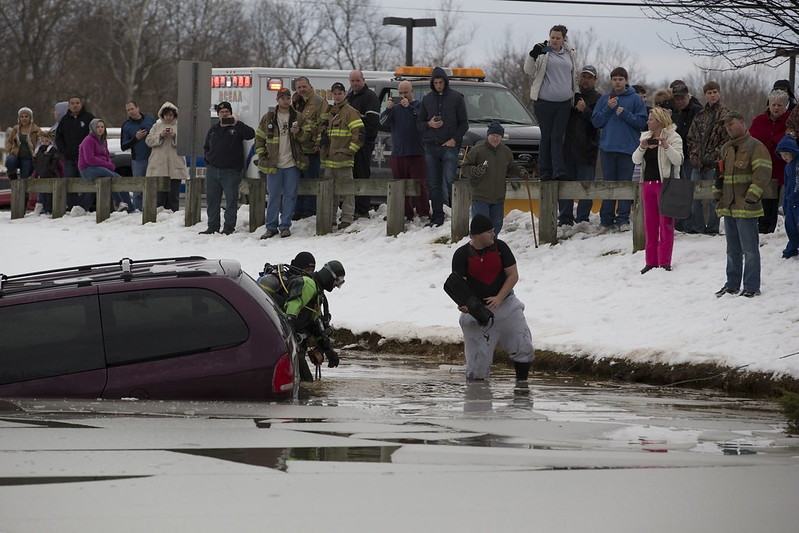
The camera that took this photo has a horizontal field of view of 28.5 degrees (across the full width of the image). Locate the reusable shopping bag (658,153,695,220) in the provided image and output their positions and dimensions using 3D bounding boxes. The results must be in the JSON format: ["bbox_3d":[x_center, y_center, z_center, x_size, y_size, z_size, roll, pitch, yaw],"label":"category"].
[{"bbox_3d":[4.389,-1.258,24.890,0.489,1.182,0.283,5,-25,4],"label":"reusable shopping bag"}]

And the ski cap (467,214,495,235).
[{"bbox_3d":[1.150,-0.599,22.269,0.272,0.235,0.268,3,0,-11],"label":"ski cap"}]

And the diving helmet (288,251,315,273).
[{"bbox_3d":[-1.441,-0.049,22.509,0.297,0.328,0.253,0,2,25],"label":"diving helmet"}]

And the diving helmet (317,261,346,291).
[{"bbox_3d":[-0.956,0.140,22.530,0.425,0.443,0.332,35,4,-11],"label":"diving helmet"}]

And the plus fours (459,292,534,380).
[{"bbox_3d":[1.445,1.008,22.887,1.006,1.453,0.504,-2,12,1],"label":"plus fours"}]

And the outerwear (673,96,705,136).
[{"bbox_3d":[4.786,-2.500,26.154,0.632,0.802,0.407,-1,-9,39],"label":"outerwear"}]
